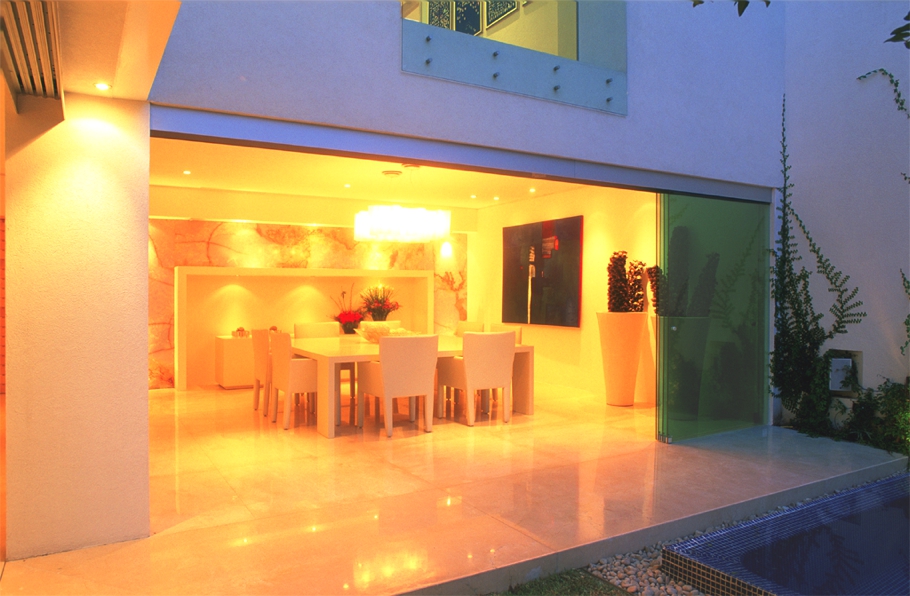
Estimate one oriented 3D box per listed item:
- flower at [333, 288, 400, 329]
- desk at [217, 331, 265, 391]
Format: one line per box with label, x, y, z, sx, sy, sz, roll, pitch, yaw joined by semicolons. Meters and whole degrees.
flower;-1.452;0.159;10.302;0.766;0.555;0.716;1;0;16
desk;-3.405;0.864;9.797;0.830;0.776;0.873;-3;-17;-3
